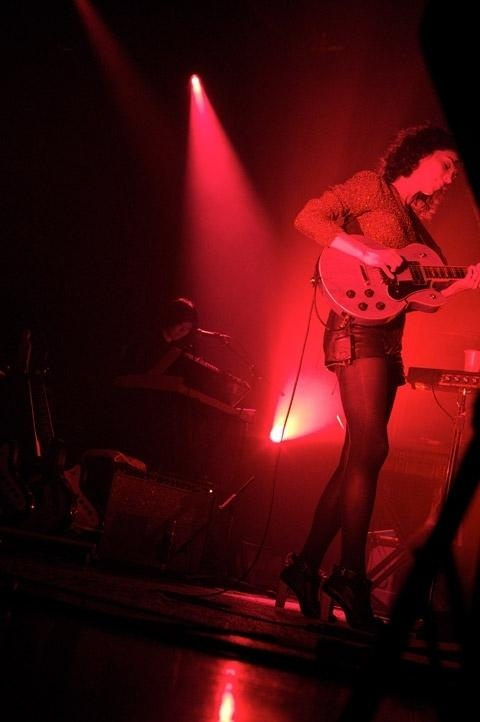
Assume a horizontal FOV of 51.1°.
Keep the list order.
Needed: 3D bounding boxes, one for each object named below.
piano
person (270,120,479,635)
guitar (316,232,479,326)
[{"bbox_3d":[-0.367,0.223,3.182,0.891,0.233,0.230,3,-8,16],"label":"piano"},{"bbox_3d":[0.521,-0.047,1.962,0.680,1.982,0.421,7,-8,-31],"label":"person"},{"bbox_3d":[0.560,-0.302,1.854,0.508,0.335,0.086,3,-18,-20],"label":"guitar"}]
